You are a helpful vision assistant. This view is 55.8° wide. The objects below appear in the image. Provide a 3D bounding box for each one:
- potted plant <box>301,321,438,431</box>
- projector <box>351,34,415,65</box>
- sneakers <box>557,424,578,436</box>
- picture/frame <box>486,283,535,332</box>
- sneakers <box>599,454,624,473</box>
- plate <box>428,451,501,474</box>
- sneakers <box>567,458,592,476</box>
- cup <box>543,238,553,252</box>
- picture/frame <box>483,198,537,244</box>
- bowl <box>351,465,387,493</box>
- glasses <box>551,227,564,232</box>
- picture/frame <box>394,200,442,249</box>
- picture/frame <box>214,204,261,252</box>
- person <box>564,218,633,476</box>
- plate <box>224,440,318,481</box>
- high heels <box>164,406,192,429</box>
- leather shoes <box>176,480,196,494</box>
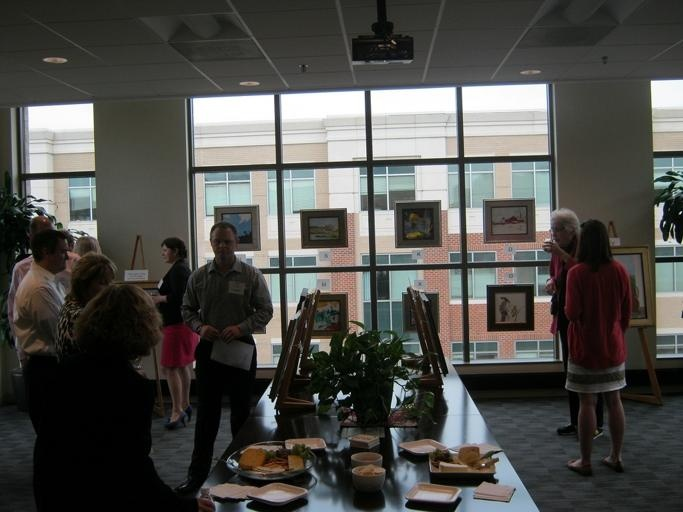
[{"bbox_3d":[0.133,0.776,4.195,0.689,0.475,0.685,1,-3,-13],"label":"potted plant"},{"bbox_3d":[0.319,-1.647,5.138,0.469,0.235,0.210,-2,6,-3],"label":"projector"},{"bbox_3d":[2.146,1.675,6.179,0.230,0.098,0.087,0,-4,8],"label":"sneakers"},{"bbox_3d":[2.015,0.620,7.672,0.556,0.568,0.062,0,2,0],"label":"picture/frame"},{"bbox_3d":[2.250,1.736,5.399,0.070,0.078,0.195,-2,1,-6],"label":"sneakers"},{"bbox_3d":[0.672,1.132,3.545,0.374,0.097,0.246,-1,6,9],"label":"plate"},{"bbox_3d":[1.950,1.742,5.304,0.081,0.094,0.239,-1,1,-8],"label":"sneakers"},{"bbox_3d":[1.887,-0.077,5.910,0.080,0.101,0.221,0,6,15],"label":"cup"},{"bbox_3d":[2.001,-0.393,7.659,0.519,0.444,0.051,0,-3,1],"label":"picture/frame"},{"bbox_3d":[0.150,1.167,3.405,0.195,0.128,0.149,-3,6,-9],"label":"bowl"},{"bbox_3d":[1.978,-0.229,5.977,0.040,0.054,0.128,-3,6,-11],"label":"glasses"},{"bbox_3d":[0.918,-0.369,7.713,0.557,0.569,0.041,0,-1,0],"label":"picture/frame"},{"bbox_3d":[-1.117,-0.292,6.949,0.545,0.557,0.040,0,0,-2],"label":"picture/frame"},{"bbox_3d":[2.069,0.752,5.216,0.534,2.074,0.257,-1,5,5],"label":"person"},{"bbox_3d":[-0.408,1.128,3.555,0.502,0.141,0.279,-1,6,7],"label":"plate"},{"bbox_3d":[-1.662,1.705,6.741,0.157,0.112,0.332,30,1,35],"label":"high heels"},{"bbox_3d":[-1.209,1.784,4.967,0.154,0.070,0.083,14,-26,-21],"label":"leather shoes"}]
